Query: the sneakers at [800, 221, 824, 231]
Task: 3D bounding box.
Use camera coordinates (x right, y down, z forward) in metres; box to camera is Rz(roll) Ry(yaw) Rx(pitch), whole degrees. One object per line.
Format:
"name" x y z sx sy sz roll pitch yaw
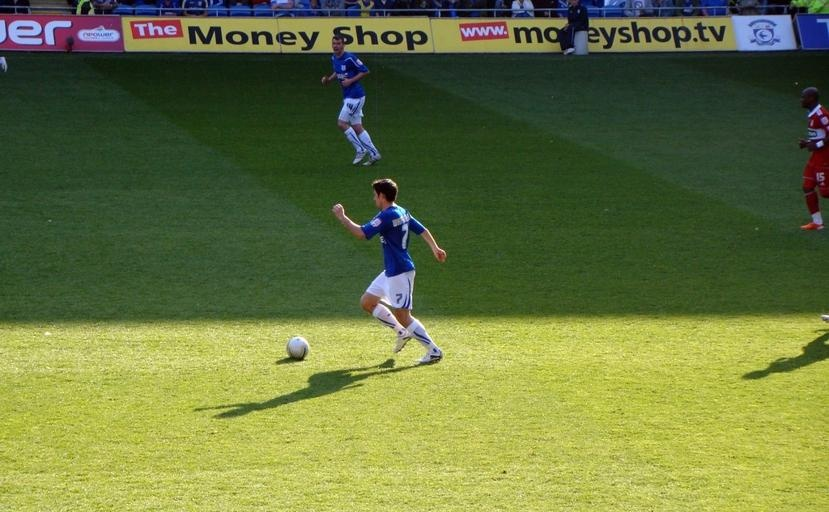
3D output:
"sneakers" 8.715 -0.652 28.361 0.522 0.142 0.178 4 -8 4

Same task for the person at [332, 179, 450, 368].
"person" -0.336 0.287 23.634 1.761 3.322 1.039 1 7 0

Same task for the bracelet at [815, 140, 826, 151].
"bracelet" 8.678 -2.374 27.650 0.269 0.086 0.096 -24 -14 9
